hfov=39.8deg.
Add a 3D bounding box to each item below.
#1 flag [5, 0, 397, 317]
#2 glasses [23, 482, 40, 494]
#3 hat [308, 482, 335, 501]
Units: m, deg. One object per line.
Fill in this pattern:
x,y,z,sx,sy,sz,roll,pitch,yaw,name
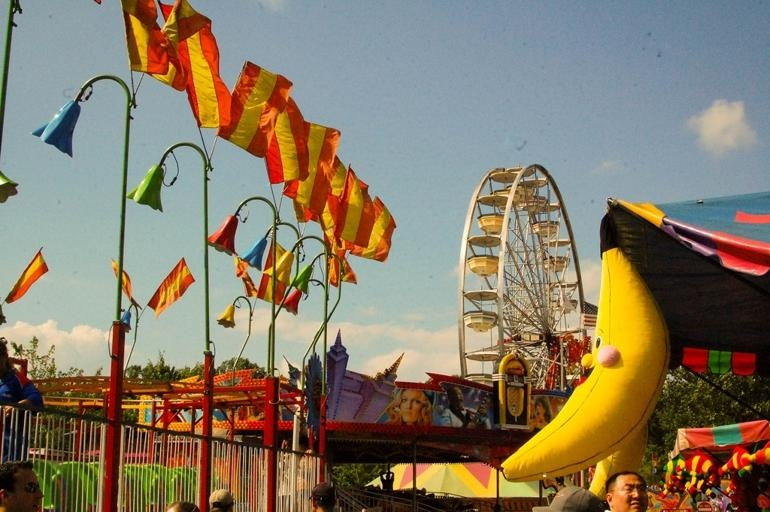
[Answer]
-2.548,-1.685,17.960,0.985,4.323,9.003,-18,-35,35,flag
-4.643,3.051,14.035,0.136,0.049,0.137,20,-40,-36,glasses
-0.899,3.357,15.147,0.280,0.190,0.218,1,-6,35,hat
